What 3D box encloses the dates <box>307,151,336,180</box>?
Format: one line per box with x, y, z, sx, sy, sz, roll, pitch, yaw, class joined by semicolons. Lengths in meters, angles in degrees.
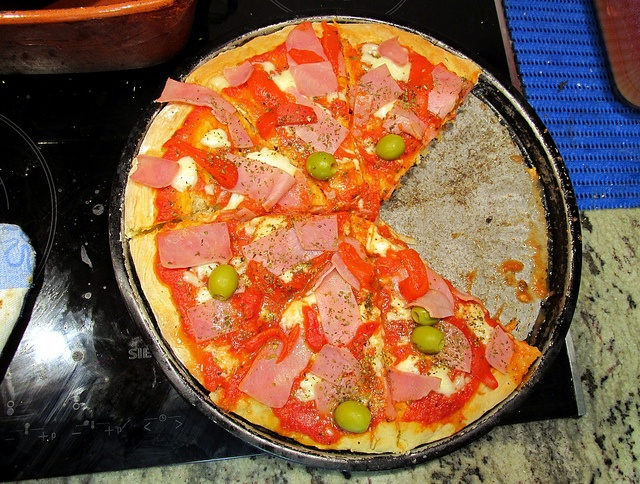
0.016;-0.434;3.552;0.147;0.130;0.128;17;50;22;dates

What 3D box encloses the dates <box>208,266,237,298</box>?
-0.517;0.210;3.363;0.120;0.130;0.178;7;64;-13;dates

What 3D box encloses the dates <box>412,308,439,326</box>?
0.576;0.409;3.452;0.109;0.088;0.099;-7;79;-10;dates

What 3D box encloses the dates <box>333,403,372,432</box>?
0.164;0.920;3.342;0.160;0.134;0.144;7;77;11;dates
